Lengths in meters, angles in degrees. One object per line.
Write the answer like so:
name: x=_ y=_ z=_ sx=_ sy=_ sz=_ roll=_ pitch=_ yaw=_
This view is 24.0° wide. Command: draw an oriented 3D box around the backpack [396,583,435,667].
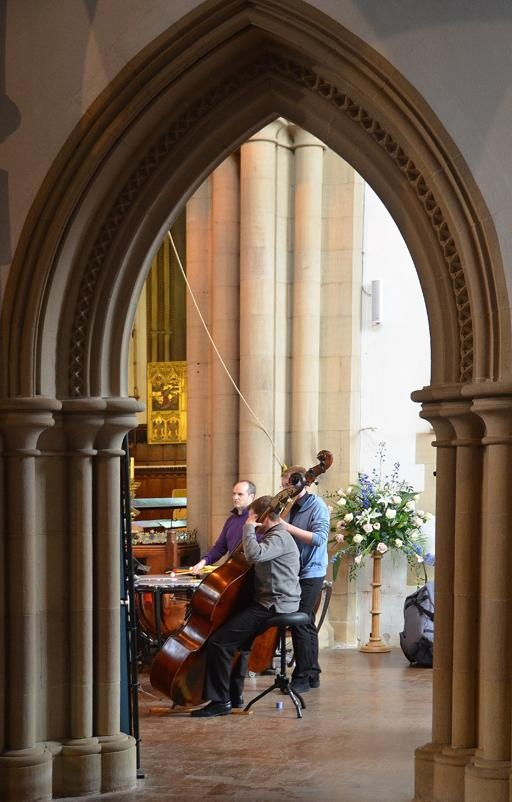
backpack: x=1.172 y=1.632 z=8.746 sx=0.239 sy=0.589 sz=0.341 roll=-1 pitch=-4 yaw=5

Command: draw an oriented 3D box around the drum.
drum: x=-0.685 y=1.587 z=8.630 sx=0.434 sy=0.451 sz=0.436 roll=16 pitch=-7 yaw=-37

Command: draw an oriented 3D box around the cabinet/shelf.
cabinet/shelf: x=-0.676 y=1.371 z=8.938 sx=0.668 sy=0.580 sz=0.886 roll=1 pitch=-5 yaw=-12

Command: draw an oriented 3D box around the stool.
stool: x=0.170 y=1.542 z=7.057 sx=0.365 sy=0.548 sz=0.352 roll=-4 pitch=-7 yaw=38

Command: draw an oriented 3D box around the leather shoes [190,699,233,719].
leather shoes: x=-0.257 y=1.774 z=6.912 sx=0.235 sy=0.107 sz=0.085 roll=6 pitch=-10 yaw=-15

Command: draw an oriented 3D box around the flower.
flower: x=1.012 y=0.982 z=9.407 sx=0.511 sy=0.567 sz=0.539 roll=-16 pitch=13 yaw=-40

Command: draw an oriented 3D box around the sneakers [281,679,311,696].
sneakers: x=0.276 y=1.768 z=7.437 sx=0.090 sy=0.099 sz=0.246 roll=-6 pitch=-11 yaw=45
